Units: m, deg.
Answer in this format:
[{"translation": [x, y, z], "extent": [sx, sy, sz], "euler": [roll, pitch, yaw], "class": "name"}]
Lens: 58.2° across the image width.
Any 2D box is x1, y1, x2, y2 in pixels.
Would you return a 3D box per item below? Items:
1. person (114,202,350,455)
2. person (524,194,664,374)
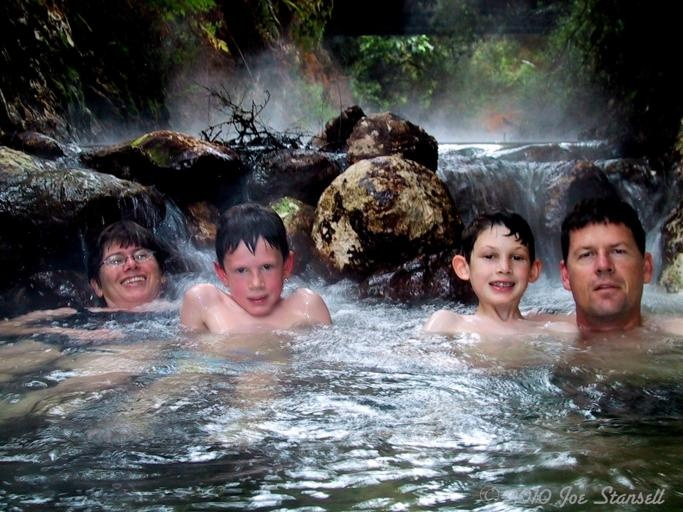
[{"translation": [-0.682, 0.168, 4.858], "extent": [1.246, 1.467, 1.302], "euler": [2, 5, 3], "class": "person"}, {"translation": [1.774, 0.098, 4.191], "extent": [0.984, 0.968, 0.830], "euler": [-11, 14, -43], "class": "person"}]
